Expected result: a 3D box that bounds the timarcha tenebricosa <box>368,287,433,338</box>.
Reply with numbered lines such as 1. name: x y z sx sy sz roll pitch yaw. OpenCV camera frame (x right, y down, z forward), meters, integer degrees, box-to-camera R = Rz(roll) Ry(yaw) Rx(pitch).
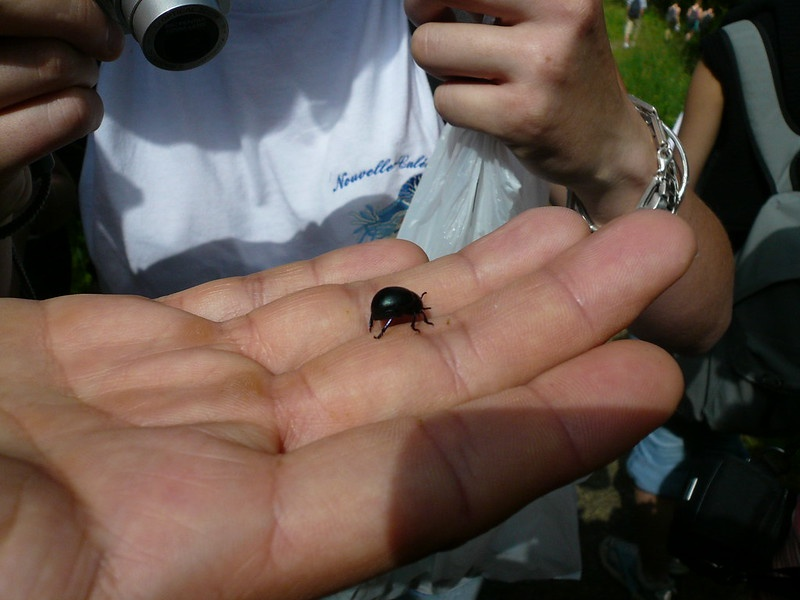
1. timarcha tenebricosa: 0.002 0.031 3.092 0.216 0.205 0.148 -7 91 -34
